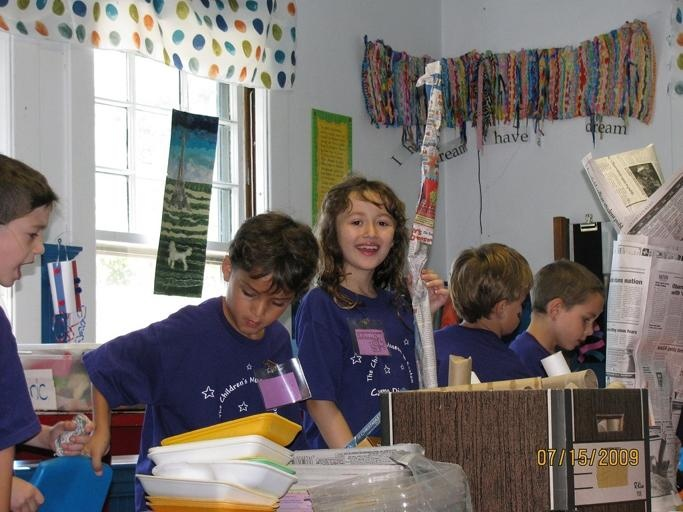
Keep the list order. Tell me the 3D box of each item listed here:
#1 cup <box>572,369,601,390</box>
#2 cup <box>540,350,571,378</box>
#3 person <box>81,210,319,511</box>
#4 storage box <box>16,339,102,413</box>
[{"bbox_3d":[0.497,0.262,1.462,0.044,0.048,0.043,4,8,0],"label":"cup"},{"bbox_3d":[0.480,0.242,1.609,0.053,0.052,0.051,-1,-4,0],"label":"cup"},{"bbox_3d":[-0.355,0.269,1.922,0.630,0.772,0.320,0,-4,-23],"label":"person"},{"bbox_3d":[-0.874,0.371,2.266,0.264,0.191,0.191,2,-7,-32],"label":"storage box"}]
